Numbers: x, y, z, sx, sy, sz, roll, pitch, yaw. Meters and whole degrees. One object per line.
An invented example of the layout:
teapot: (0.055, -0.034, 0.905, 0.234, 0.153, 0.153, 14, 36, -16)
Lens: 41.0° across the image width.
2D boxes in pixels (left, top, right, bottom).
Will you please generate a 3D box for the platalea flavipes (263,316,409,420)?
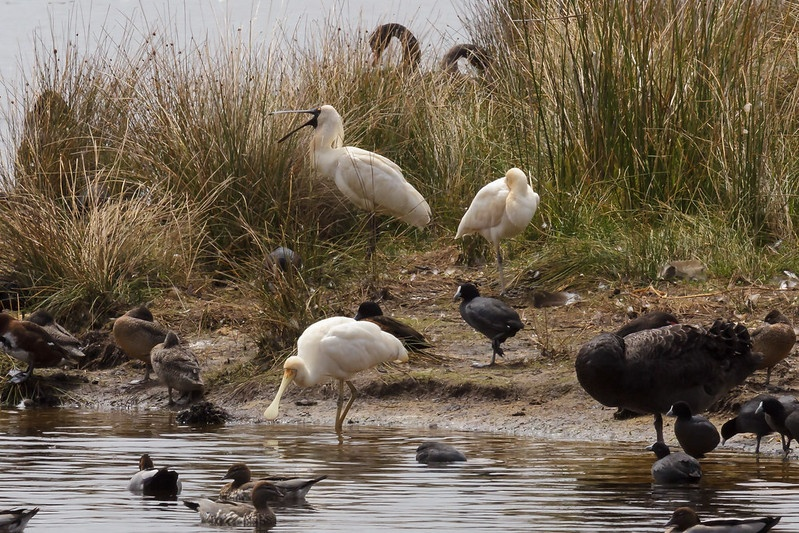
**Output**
platalea flavipes: (-0.556, 0.928, 10.668, 1.655, 1.000, 0.726, -9, 8, -21)

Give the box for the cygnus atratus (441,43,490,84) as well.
cygnus atratus: (1.242, -3.900, 20.113, 0.868, 0.631, 1.660, -3, 16, 3)
